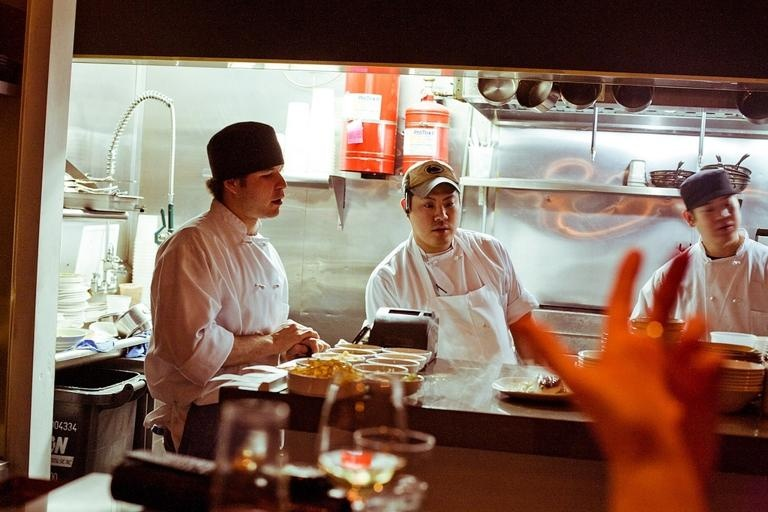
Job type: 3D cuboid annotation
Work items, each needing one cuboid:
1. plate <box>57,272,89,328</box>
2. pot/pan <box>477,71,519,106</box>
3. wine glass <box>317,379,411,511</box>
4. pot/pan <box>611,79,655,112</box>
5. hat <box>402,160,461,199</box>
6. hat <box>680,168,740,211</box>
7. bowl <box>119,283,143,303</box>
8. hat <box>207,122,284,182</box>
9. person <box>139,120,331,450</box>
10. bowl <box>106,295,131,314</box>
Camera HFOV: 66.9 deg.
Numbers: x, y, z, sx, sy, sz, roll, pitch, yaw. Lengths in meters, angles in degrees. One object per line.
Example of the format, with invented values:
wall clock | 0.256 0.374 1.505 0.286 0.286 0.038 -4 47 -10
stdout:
plate | -1.802 0.254 3.365 0.145 0.303 0.253 2 2 -28
pot/pan | 0.530 -0.786 2.698 0.174 0.093 0.340 3 2 12
wine glass | -0.047 0.376 1.178 0.167 0.287 0.186 3 2 -1
pot/pan | 1.054 -0.677 2.480 0.158 0.077 0.145 0 13 -5
hat | 0.267 -0.448 3.205 0.312 0.176 0.393 -11 10 -16
hat | 1.894 -0.380 3.495 0.418 0.186 0.347 -4 7 45
bowl | -1.747 0.249 4.020 0.166 0.112 0.148 1 -1 -15
hat | -0.671 -0.499 2.679 0.342 0.199 0.355 -11 12 -22
person | -0.646 0.120 2.504 0.628 1.421 0.488 2 2 -38
bowl | -1.695 0.312 3.726 0.129 0.093 0.135 2 -6 0
